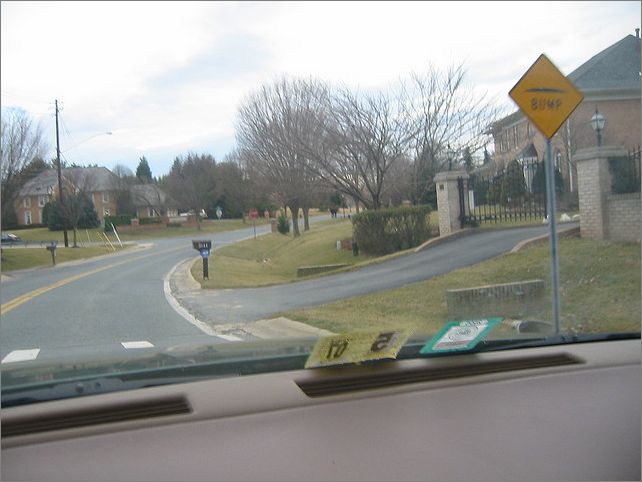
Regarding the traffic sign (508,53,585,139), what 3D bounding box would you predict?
[{"bbox_3d":[2.178,-1.397,5.918,0.667,0.813,0.308,-6,2,20],"label":"traffic sign"}]
